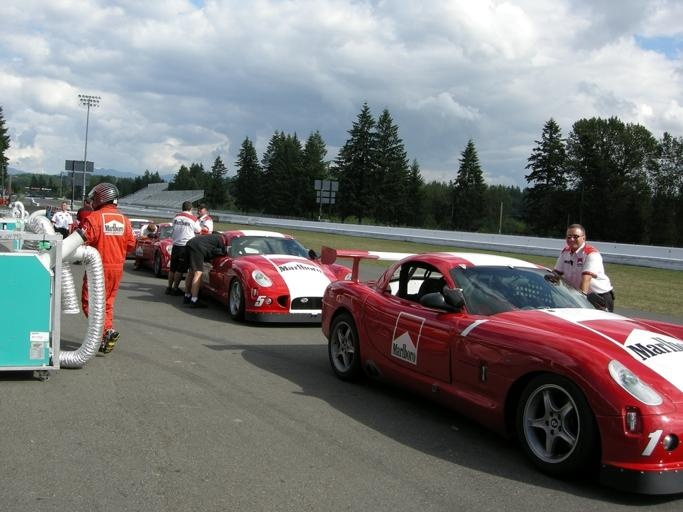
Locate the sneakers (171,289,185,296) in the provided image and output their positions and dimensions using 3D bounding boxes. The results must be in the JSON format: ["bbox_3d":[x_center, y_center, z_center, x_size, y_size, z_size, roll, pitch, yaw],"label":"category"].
[{"bbox_3d":[-4.147,0.908,12.656,0.355,0.165,0.123,3,24,-29],"label":"sneakers"}]

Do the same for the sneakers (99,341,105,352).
[{"bbox_3d":[-3.306,1.253,6.938,0.074,0.200,0.221,0,4,-26],"label":"sneakers"}]

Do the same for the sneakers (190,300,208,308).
[{"bbox_3d":[-3.140,1.066,11.028,0.463,0.212,0.164,3,30,-22],"label":"sneakers"}]

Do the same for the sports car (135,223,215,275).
[{"bbox_3d":[-5.785,-0.264,16.514,1.495,1.115,2.412,-1,6,-39],"label":"sports car"}]

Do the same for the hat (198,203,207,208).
[{"bbox_3d":[-3.312,-1.218,11.960,0.154,0.088,0.228,2,4,-6],"label":"hat"}]

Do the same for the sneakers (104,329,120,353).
[{"bbox_3d":[-3.165,1.196,6.964,0.136,0.429,0.200,15,13,-32],"label":"sneakers"}]

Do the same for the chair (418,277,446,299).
[{"bbox_3d":[1.027,0.336,5.725,0.278,0.263,0.225,8,-5,-9],"label":"chair"}]
